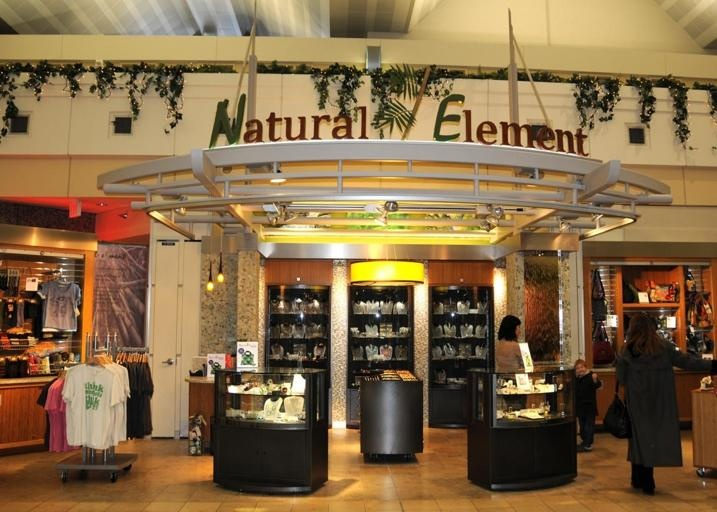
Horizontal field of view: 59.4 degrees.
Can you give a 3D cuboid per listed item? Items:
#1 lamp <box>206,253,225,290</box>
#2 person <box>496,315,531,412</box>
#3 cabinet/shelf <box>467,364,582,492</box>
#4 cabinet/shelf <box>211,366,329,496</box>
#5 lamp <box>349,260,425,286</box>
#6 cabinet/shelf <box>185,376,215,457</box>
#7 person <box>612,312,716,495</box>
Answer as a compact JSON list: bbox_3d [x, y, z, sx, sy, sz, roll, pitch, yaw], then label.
[{"bbox_3d":[-2.723,0.304,12.026,0.340,0.700,0.306,1,-11,-13],"label":"lamp"},{"bbox_3d":[2.590,1.905,10.458,0.512,1.945,0.517,-8,16,-7],"label":"person"},{"bbox_3d":[2.420,2.527,9.416,1.544,1.597,1.064,3,-5,-21],"label":"cabinet/shelf"},{"bbox_3d":[-1.268,2.473,9.289,1.614,1.637,1.181,-2,-10,15],"label":"cabinet/shelf"},{"bbox_3d":[0.494,0.259,11.394,1.248,0.477,0.875,1,-11,-11],"label":"lamp"},{"bbox_3d":[-2.687,2.694,10.722,0.472,1.260,0.345,-1,-11,-3],"label":"cabinet/shelf"},{"bbox_3d":[4.156,1.859,8.835,0.981,2.097,0.318,-1,-11,0],"label":"person"}]
